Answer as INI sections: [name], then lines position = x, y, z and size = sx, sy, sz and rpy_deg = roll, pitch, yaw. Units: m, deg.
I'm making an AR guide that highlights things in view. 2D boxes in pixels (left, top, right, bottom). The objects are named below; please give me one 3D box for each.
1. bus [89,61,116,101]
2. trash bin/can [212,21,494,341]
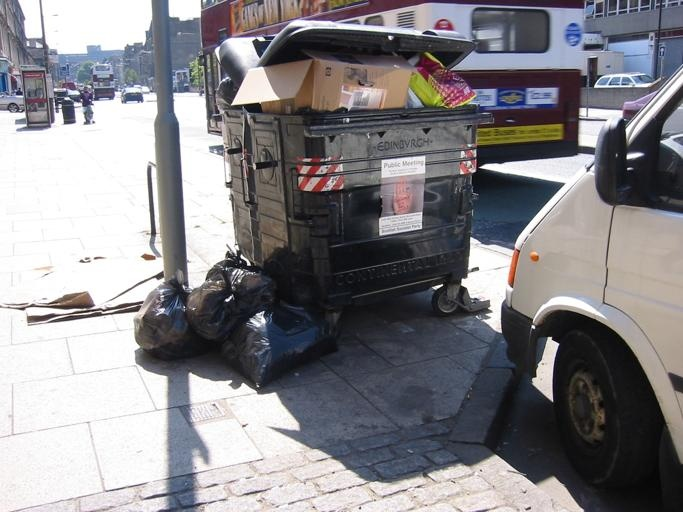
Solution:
[bus]
position = -35.095, -25.297, 76.527
size = 3.115, 5.003, 5.985
rpy_deg = -11, 23, -22
[trash bin/can]
position = -0.218, -1.008, 5.909
size = 3.057, 3.328, 2.918
rpy_deg = -8, 14, -31
